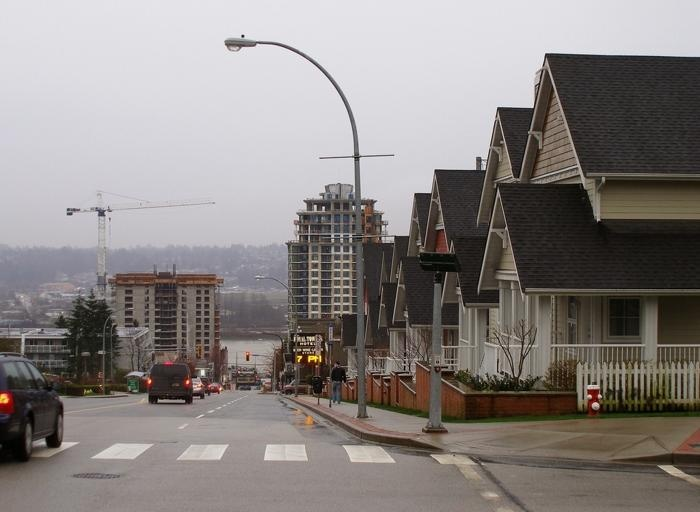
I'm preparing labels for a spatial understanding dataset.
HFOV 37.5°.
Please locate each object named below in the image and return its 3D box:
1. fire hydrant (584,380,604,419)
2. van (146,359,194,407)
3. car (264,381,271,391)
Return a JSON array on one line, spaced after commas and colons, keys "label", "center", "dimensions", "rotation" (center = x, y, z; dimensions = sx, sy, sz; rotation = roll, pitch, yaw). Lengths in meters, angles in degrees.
[{"label": "fire hydrant", "center": [6.208, 3.682, 26.442], "dimensions": [0.694, 1.089, 0.640], "rotation": [1, -5, -9]}, {"label": "van", "center": [-8.224, 5.828, 47.385], "dimensions": [1.972, 1.897, 1.896], "rotation": [1, -5, -12]}, {"label": "car", "center": [-11.596, 18.401, 146.535], "dimensions": [0.987, 0.953, 1.782], "rotation": [1, 4, -1]}]
